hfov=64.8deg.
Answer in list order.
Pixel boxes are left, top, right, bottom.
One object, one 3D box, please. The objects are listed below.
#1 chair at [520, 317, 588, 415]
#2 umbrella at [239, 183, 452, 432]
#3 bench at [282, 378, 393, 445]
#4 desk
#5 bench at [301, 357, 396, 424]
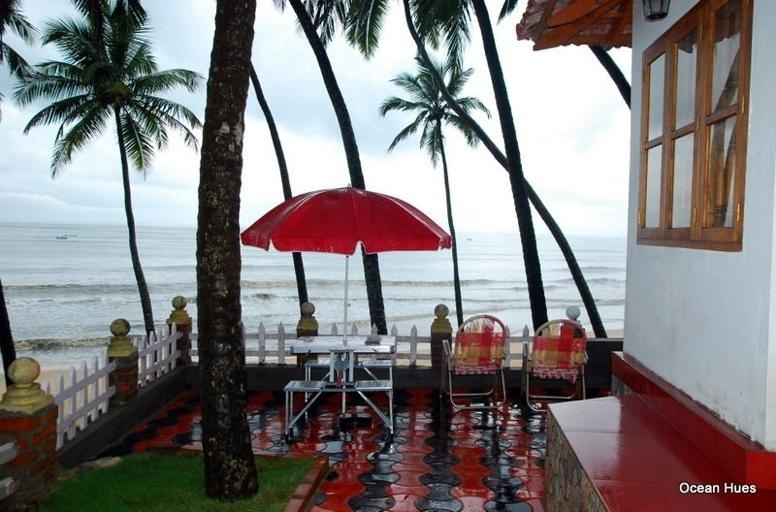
[{"bbox_3d":[2.612,1.649,9.639,0.939,1.539,1.469,3,7,13],"label":"chair"},{"bbox_3d":[-0.487,0.606,9.370,3.023,3.373,3.095,1,5,2],"label":"umbrella"},{"bbox_3d":[-0.664,2.231,9.001,1.486,0.672,1.423,0,-7,-4],"label":"bench"},{"bbox_3d":[-0.607,1.688,9.044,1.141,0.929,1.688,1,-4,2],"label":"desk"},{"bbox_3d":[-0.411,1.987,9.312,0.996,0.670,1.071,9,6,5],"label":"bench"}]
